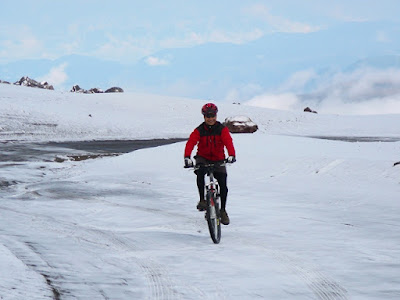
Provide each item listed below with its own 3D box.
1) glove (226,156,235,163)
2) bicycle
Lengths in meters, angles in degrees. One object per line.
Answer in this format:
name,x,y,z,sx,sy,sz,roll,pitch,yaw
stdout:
glove,0.621,0.192,11.627,0.169,0.163,0.200,-8,20,6
bicycle,0.240,1.034,11.601,0.740,1.654,1.198,-3,23,22
